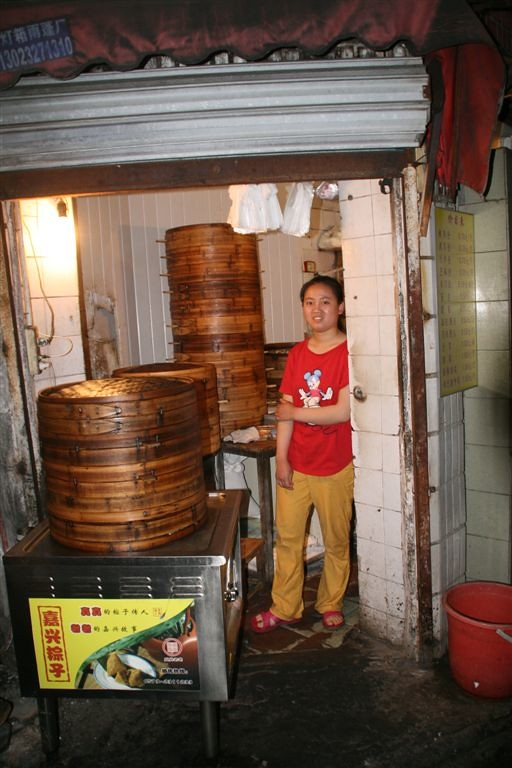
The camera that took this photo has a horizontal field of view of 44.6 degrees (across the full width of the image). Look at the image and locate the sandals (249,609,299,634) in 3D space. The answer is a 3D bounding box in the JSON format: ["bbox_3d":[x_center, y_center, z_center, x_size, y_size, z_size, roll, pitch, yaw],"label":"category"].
[{"bbox_3d":[0.103,1.293,3.401,0.238,0.082,0.097,3,-5,-15],"label":"sandals"}]

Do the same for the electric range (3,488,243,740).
[{"bbox_3d":[-0.347,0.739,2.530,0.913,0.833,0.895,0,5,7],"label":"electric range"}]

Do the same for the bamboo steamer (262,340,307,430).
[{"bbox_3d":[0.308,-0.040,5.192,0.584,0.627,0.571,0,-1,-3],"label":"bamboo steamer"}]

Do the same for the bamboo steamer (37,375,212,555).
[{"bbox_3d":[-0.426,0.266,2.338,0.555,0.521,0.591,-1,9,5],"label":"bamboo steamer"}]

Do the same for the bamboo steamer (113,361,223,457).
[{"bbox_3d":[-0.462,0.121,3.688,0.557,0.564,0.592,5,11,31],"label":"bamboo steamer"}]
